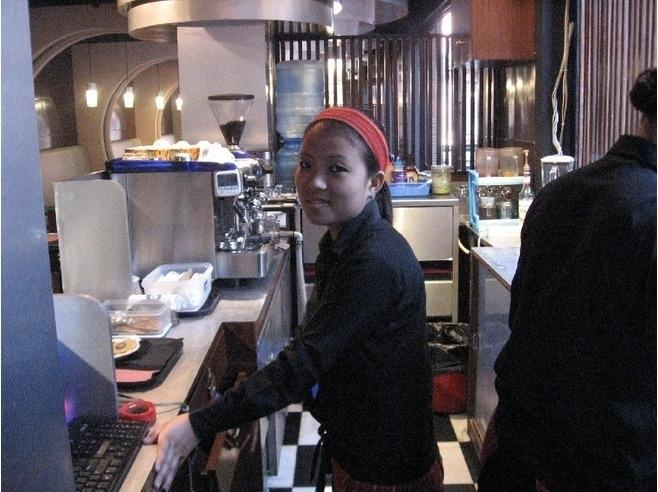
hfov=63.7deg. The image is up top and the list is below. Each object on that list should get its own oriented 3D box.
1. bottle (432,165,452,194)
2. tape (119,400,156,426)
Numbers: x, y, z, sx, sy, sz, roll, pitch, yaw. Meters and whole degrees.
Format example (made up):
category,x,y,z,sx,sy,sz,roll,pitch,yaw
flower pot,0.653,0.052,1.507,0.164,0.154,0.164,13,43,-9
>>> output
category,x,y,z,sx,sy,sz,roll,pitch,yaw
bottle,0.964,-0.567,4.539,0.199,0.254,0.206,-1,10,0
tape,-0.501,0.434,1.376,0.064,0.030,0.058,4,8,7
